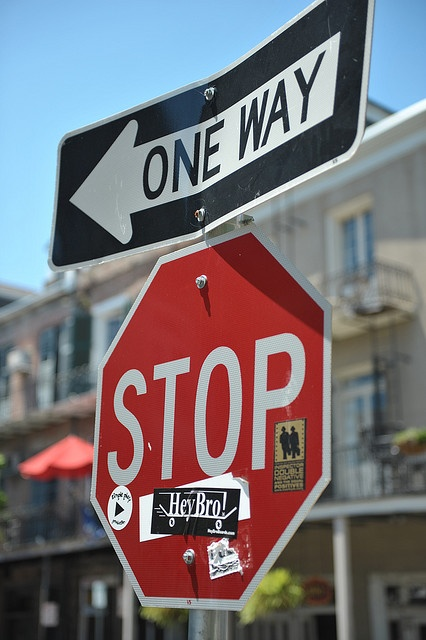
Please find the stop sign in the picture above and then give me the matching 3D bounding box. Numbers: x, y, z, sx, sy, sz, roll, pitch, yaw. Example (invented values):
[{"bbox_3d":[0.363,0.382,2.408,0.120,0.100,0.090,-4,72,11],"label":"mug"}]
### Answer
[{"bbox_3d":[-0.016,0.174,1.747,0.164,0.753,0.682,8,-16,-38],"label":"stop sign"}]
